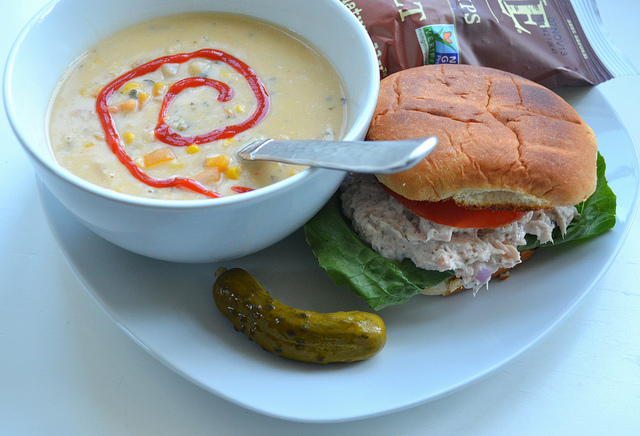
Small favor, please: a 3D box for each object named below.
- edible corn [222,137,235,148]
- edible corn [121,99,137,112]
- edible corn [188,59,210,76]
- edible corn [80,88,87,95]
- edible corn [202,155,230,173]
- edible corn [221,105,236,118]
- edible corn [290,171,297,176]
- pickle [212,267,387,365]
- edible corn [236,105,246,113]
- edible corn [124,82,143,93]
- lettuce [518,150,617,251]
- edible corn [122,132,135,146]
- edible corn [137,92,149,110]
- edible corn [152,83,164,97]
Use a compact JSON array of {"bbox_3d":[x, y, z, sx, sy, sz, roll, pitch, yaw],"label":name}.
[{"bbox_3d":[-0.413,-0.338,2.445,0.036,0.013,0.052,21,46,3],"label":"edible corn"},{"bbox_3d":[-0.882,-0.516,2.517,0.060,0.031,0.055,-6,66,-11],"label":"edible corn"},{"bbox_3d":[-0.590,-0.733,2.688,0.091,0.027,0.085,-15,51,-8],"label":"edible corn"},{"bbox_3d":[-1.106,-0.588,2.557,0.026,0.006,0.025,4,50,-13],"label":"edible corn"},{"bbox_3d":[-0.445,-0.235,2.400,0.113,0.045,0.064,-7,34,25],"label":"edible corn"},{"bbox_3d":[-0.427,-0.494,2.545,0.040,0.015,0.067,-33,73,-25],"label":"edible corn"},{"bbox_3d":[-0.113,-0.185,2.285,0.031,0.014,0.040,-4,16,-1],"label":"edible corn"},{"bbox_3d":[-0.130,0.420,2.317,0.820,0.230,0.282,17,42,12],"label":"pickle"},{"bbox_3d":[-0.364,-0.503,2.558,0.040,0.013,0.036,6,61,-15],"label":"edible corn"},{"bbox_3d":[-0.884,-0.619,2.582,0.070,0.016,0.049,-16,52,-23],"label":"edible corn"},{"bbox_3d":[1.191,-0.181,2.682,0.563,0.098,0.432,-26,16,-7],"label":"lettuce"},{"bbox_3d":[-0.861,-0.349,2.437,0.052,0.018,0.052,-10,77,-14],"label":"edible corn"},{"bbox_3d":[-0.834,-0.545,2.555,0.049,0.016,0.069,12,76,-15],"label":"edible corn"},{"bbox_3d":[-0.776,-0.609,2.594,0.057,0.021,0.061,7,73,-9],"label":"edible corn"}]
